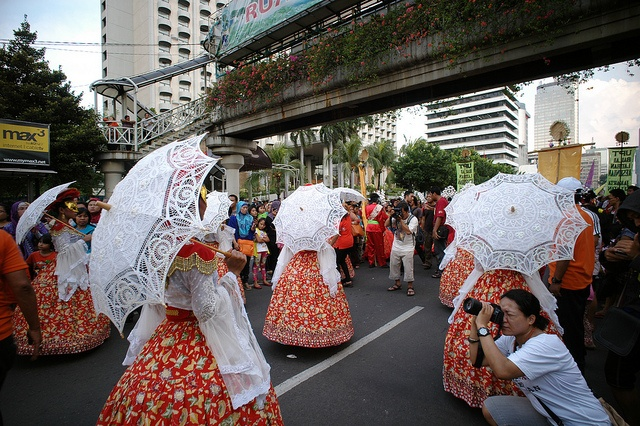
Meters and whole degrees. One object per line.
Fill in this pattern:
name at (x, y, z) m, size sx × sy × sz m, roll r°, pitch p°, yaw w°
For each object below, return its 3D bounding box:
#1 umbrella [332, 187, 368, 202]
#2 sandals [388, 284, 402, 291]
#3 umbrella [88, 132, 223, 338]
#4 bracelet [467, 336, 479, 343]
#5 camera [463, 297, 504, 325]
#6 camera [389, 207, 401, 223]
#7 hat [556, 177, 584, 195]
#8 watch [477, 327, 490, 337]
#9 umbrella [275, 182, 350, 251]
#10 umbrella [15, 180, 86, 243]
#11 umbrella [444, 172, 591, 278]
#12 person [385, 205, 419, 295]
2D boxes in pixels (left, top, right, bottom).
umbrella at (0.789, -0.443, 11.360) m, size 0.529 × 0.219 × 0.536 m, roll -5°, pitch 7°, yaw -33°
sandals at (1.692, 1.673, 9.620) m, size 0.320 × 0.137 × 0.133 m, roll 2°, pitch -3°, yaw -13°
umbrella at (-1.822, 0.192, 4.598) m, size 1.316 × 1.912 × 0.831 m, roll -9°, pitch 16°, yaw -29°
bracelet at (1.856, 1.549, 5.197) m, size 0.088 × 0.038 × 0.081 m, roll 6°, pitch 0°, yaw 30°
camera at (1.911, 1.173, 5.027) m, size 0.343 × 0.199 × 0.327 m, roll 25°, pitch 36°, yaw 2°
camera at (1.588, 0.066, 8.810) m, size 0.102 × 0.260 × 0.180 m, roll -2°, pitch 13°, yaw -32°
hat at (3.745, -0.406, 6.389) m, size 0.298 × 0.203 × 0.429 m, roll 17°, pitch 12°, yaw 32°
watch at (1.911, 1.386, 4.994) m, size 0.112 × 0.089 × 0.113 m, roll -15°, pitch -23°, yaw 27°
umbrella at (-0.198, 0.079, 7.044) m, size 1.019 × 1.081 × 0.373 m, roll -24°, pitch -27°, yaw 18°
umbrella at (-4.301, 0.054, 6.594) m, size 0.749 × 0.740 × 0.568 m, roll -12°, pitch 18°, yaw -37°
umbrella at (2.599, 0.150, 5.895) m, size 1.427 × 1.436 × 0.556 m, roll -32°, pitch -28°, yaw 5°
person at (1.787, 0.808, 9.228) m, size 0.579 × 1.979 × 0.683 m, roll 1°, pitch 14°, yaw 7°
